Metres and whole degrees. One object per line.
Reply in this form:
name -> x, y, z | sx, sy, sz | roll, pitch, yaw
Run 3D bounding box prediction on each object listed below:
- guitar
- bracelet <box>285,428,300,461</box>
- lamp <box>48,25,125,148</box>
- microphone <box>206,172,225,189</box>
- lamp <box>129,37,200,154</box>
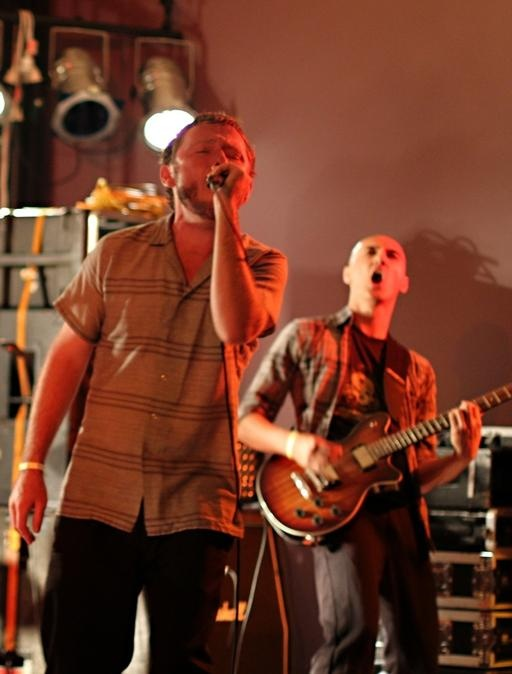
guitar -> 0.381, 0.415, 2.578 | 0.520, 0.184, 0.069 | -30, -14, -11
bracelet -> 0.119, 0.340, 2.514 | 0.016, 0.065, 0.066 | 10, -43, 0
lamp -> -0.741, -1.149, 3.688 | 0.257, 0.488, 0.299 | 16, 17, -4
microphone -> -0.074, -0.296, 1.585 | 0.036, 0.037, 0.028 | 5, 6, 34
lamp -> -0.404, -1.147, 3.743 | 0.241, 0.507, 0.236 | -10, -21, 8
